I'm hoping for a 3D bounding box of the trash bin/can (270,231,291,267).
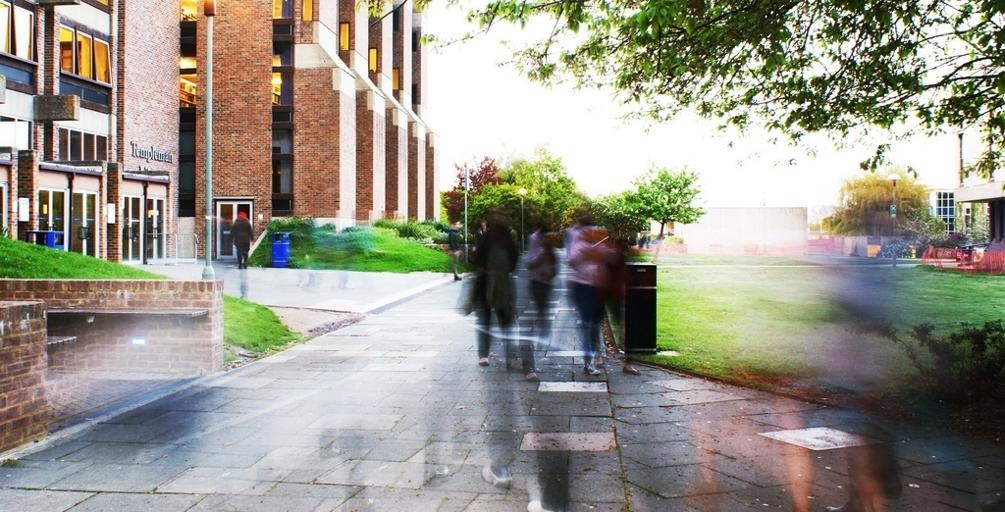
[{"bbox_3d":[-10.814,-0.334,33.123,0.936,1.641,0.500,1,3,1],"label":"trash bin/can"}]

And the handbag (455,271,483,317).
[{"bbox_3d":[-0.663,0.821,14.300,0.555,0.907,0.264,9,-6,9],"label":"handbag"}]

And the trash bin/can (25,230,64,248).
[{"bbox_3d":[-17.972,-0.683,26.598,0.642,0.684,1.089,-2,4,-17],"label":"trash bin/can"}]
